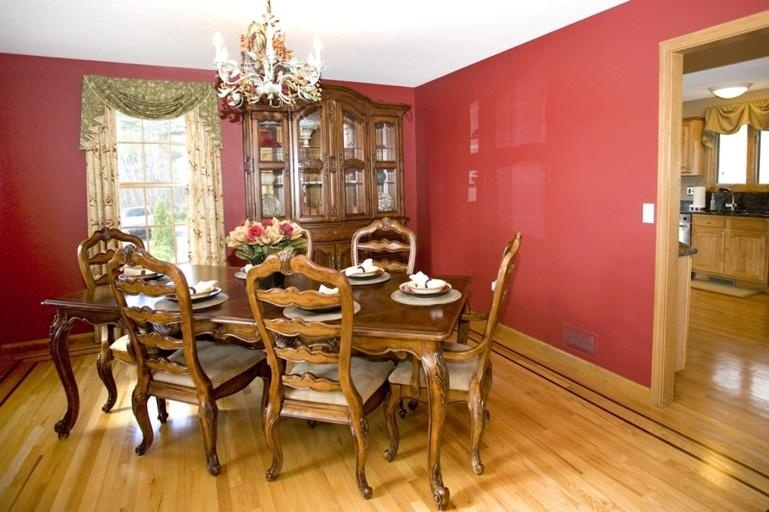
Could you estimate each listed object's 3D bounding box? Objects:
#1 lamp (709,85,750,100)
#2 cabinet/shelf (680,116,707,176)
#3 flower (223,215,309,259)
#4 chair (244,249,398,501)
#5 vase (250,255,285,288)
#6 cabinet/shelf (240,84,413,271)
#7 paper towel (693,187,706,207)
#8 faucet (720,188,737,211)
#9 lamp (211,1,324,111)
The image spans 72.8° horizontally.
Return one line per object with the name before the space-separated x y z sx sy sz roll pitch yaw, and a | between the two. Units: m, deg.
lamp | 4.717 -2.270 7.183 0.323 0.102 0.327 6 15 41
cabinet/shelf | 5.043 -1.796 8.549 0.273 0.865 0.531 -3 9 9
flower | -0.938 -0.226 4.269 0.485 0.318 0.474 6 17 8
chair | -0.430 0.789 3.751 0.967 1.724 0.626 -2 10 3
vase | -0.881 0.118 4.123 0.269 0.285 0.303 1 -1 9
cabinet/shelf | -0.716 -0.883 5.777 2.265 2.592 0.767 -3 6 -26
paper towel | 4.910 -0.926 8.158 0.184 0.323 0.318 4 12 31
faucet | 5.168 -0.857 7.828 0.192 0.306 0.364 2 11 25
lamp | -1.025 -1.788 4.553 0.728 0.964 0.724 8 20 23
